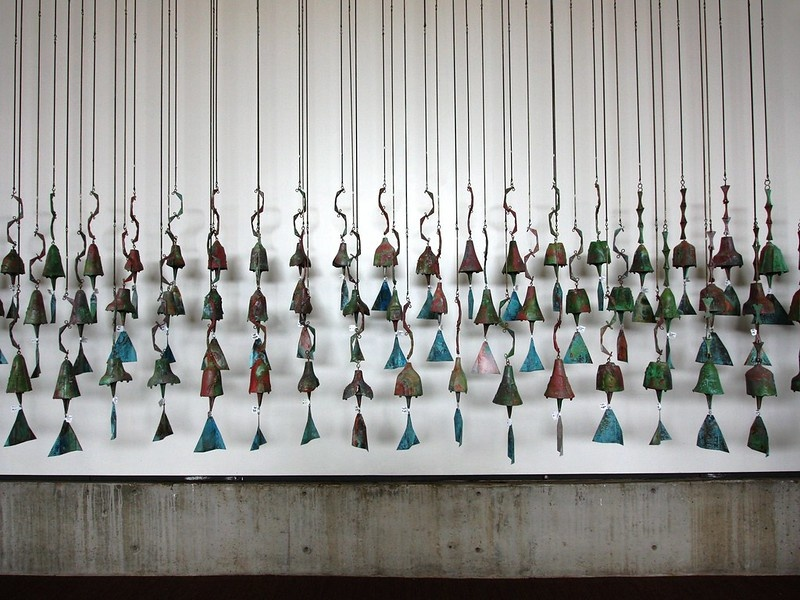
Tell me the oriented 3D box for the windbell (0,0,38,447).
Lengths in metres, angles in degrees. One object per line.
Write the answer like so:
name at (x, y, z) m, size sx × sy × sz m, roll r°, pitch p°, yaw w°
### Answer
windbell at (-2.185, -0.435, 7.413) m, size 0.186 × 2.522 × 0.436 m, roll -1°, pitch -11°, yaw -12°

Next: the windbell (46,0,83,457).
windbell at (-1.913, -0.406, 7.410) m, size 0.170 × 2.576 × 0.451 m, roll 0°, pitch -11°, yaw -13°

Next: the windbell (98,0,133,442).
windbell at (-1.627, -0.459, 7.396) m, size 0.170 × 2.474 × 0.449 m, roll 0°, pitch -11°, yaw -13°
